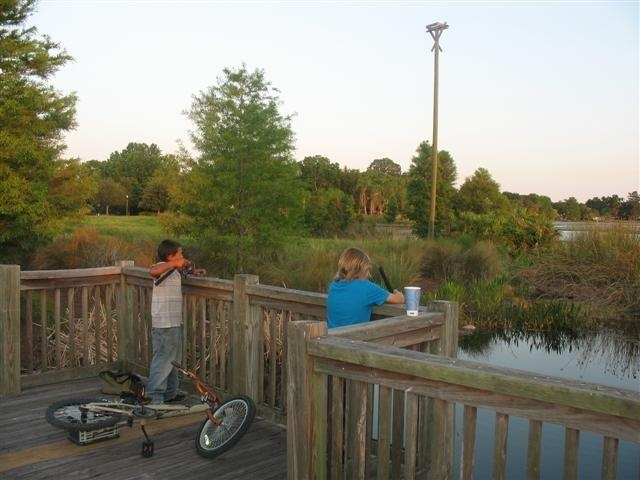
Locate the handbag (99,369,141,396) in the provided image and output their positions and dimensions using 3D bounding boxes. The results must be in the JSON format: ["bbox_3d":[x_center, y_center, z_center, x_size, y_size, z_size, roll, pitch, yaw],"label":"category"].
[{"bbox_3d":[-3.244,2.359,10.734,0.490,0.263,0.462,3,-8,12],"label":"handbag"}]

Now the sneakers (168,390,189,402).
[{"bbox_3d":[-2.405,2.661,11.085,0.366,0.177,0.129,-7,11,-34],"label":"sneakers"}]

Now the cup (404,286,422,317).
[{"bbox_3d":[1.364,0.890,9.609,0.300,0.450,0.351,3,-3,9],"label":"cup"}]

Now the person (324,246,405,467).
[{"bbox_3d":[0.702,0.942,10.264,1.069,2.004,1.081,15,26,30],"label":"person"}]
